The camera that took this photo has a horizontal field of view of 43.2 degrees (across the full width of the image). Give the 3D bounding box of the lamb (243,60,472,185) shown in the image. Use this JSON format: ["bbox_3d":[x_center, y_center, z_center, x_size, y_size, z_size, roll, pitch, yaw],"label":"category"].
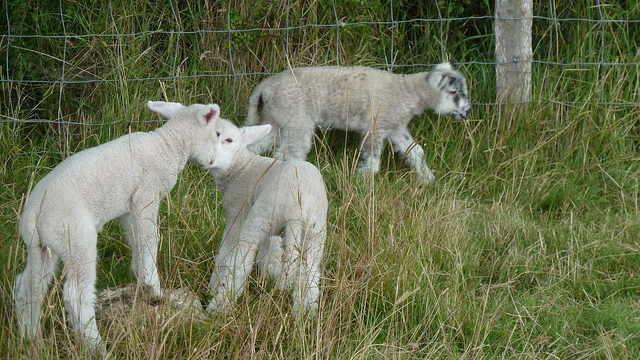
[{"bbox_3d":[0.291,-0.540,8.022,2.316,1.315,0.615,1,13,3],"label":"lamb"}]
